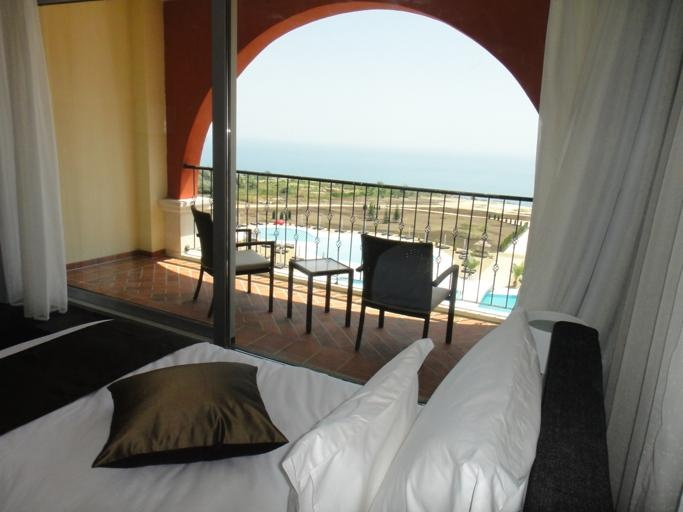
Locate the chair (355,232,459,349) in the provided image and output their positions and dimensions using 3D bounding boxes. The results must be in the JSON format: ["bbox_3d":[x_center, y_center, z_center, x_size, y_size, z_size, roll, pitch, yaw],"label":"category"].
[{"bbox_3d":[0.438,0.244,3.188,0.598,0.819,0.516,6,17,19],"label":"chair"}]

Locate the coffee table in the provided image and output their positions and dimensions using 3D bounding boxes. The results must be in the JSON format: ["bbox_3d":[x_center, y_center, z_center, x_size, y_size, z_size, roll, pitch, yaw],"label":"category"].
[{"bbox_3d":[-0.179,0.267,3.412,0.474,0.579,0.478,-7,18,-32],"label":"coffee table"}]

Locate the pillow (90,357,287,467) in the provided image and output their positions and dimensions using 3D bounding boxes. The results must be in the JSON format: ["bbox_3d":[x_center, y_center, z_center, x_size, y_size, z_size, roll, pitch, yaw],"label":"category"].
[{"bbox_3d":[-0.595,0.624,1.892,0.736,0.255,0.381,3,12,-12],"label":"pillow"}]

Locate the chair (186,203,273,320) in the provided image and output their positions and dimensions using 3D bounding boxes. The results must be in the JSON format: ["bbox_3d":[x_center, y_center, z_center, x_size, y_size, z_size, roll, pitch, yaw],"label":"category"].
[{"bbox_3d":[-0.828,-0.049,3.704,0.671,1.088,0.620,-4,17,-16],"label":"chair"}]
